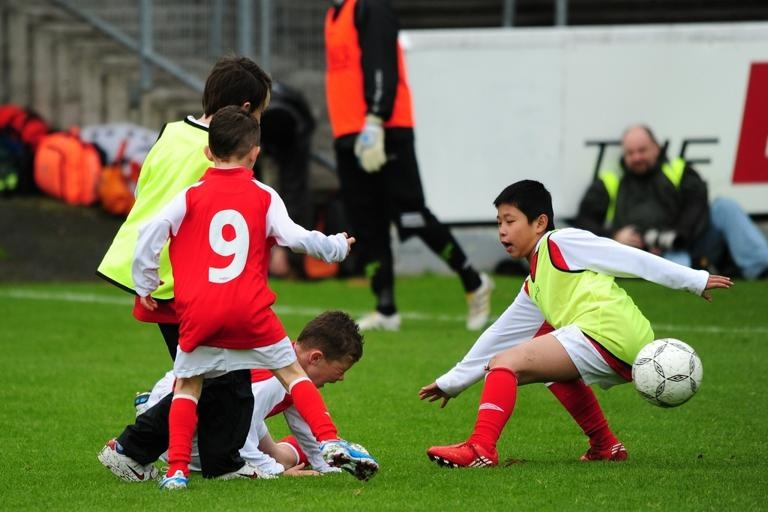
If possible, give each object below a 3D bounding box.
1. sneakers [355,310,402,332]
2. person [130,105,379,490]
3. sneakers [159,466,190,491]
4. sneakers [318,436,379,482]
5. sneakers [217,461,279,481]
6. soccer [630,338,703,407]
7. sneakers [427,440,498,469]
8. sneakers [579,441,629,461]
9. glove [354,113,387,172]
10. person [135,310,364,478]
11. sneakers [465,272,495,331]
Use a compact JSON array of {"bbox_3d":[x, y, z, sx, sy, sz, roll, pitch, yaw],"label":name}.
[{"bbox_3d":[-0.021,0.498,9.556,0.371,0.173,0.146,3,9,-2],"label":"sneakers"},{"bbox_3d":[-0.759,0.206,6.422,1.028,1.905,0.489,-1,8,-13],"label":"person"},{"bbox_3d":[-1.073,1.130,6.400,0.148,0.085,0.121,-1,8,-7],"label":"sneakers"},{"bbox_3d":[-0.176,1.006,6.386,0.284,0.161,0.134,30,2,-12],"label":"sneakers"},{"bbox_3d":[-0.712,1.135,6.548,0.277,0.104,0.117,-10,-5,-2],"label":"sneakers"},{"bbox_3d":[1.528,0.607,6.647,0.322,0.358,0.340,0,1,14],"label":"soccer"},{"bbox_3d":[0.423,1.044,6.548,0.265,0.116,0.162,12,-10,-5],"label":"sneakers"},{"bbox_3d":[1.203,1.055,6.784,0.271,0.134,0.102,-2,-10,8],"label":"sneakers"},{"bbox_3d":[-0.083,-0.767,8.587,0.199,0.361,0.104,-10,-6,33],"label":"glove"},{"bbox_3d":[-0.483,0.705,6.847,1.564,1.057,0.596,-3,10,6],"label":"person"},{"bbox_3d":[0.712,0.351,9.521,0.156,0.501,0.203,14,16,36],"label":"sneakers"}]
